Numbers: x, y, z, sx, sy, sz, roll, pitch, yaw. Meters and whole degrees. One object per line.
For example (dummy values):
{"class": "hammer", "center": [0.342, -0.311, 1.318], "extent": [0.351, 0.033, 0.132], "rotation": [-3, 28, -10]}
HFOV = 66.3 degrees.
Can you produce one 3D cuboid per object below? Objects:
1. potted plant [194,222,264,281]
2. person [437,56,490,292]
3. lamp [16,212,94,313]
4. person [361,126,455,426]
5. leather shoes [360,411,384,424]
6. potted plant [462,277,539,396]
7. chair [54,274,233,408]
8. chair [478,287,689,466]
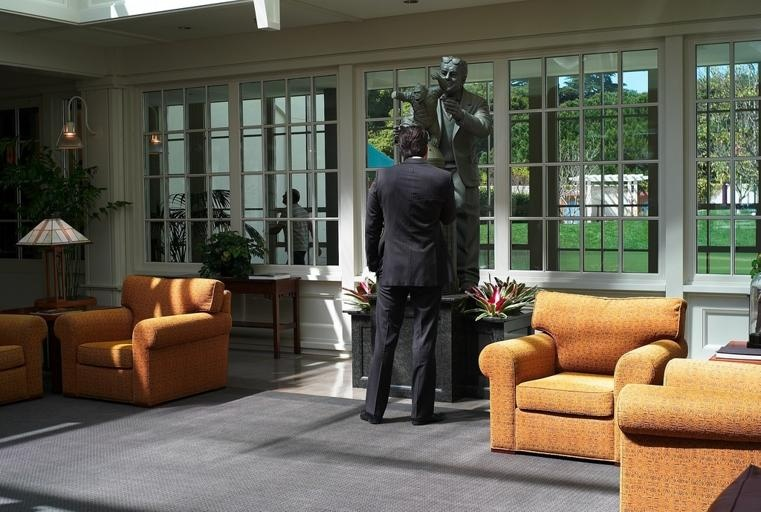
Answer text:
{"class": "potted plant", "center": [-1.873, -0.073, 7.367], "extent": [0.653, 0.509, 0.651], "rotation": [-1, 3, -29]}
{"class": "person", "center": [0.710, -0.754, 5.676], "extent": [0.647, 2.205, 0.695], "rotation": [-3, 2, -41]}
{"class": "lamp", "center": [-3.581, 0.072, 6.447], "extent": [0.768, 0.965, 0.809], "rotation": [7, 3, 41]}
{"class": "person", "center": [0.216, 0.143, 4.770], "extent": [0.781, 2.419, 0.294], "rotation": [0, 3, 7]}
{"class": "leather shoes", "center": [-0.070, 1.331, 4.805], "extent": [0.074, 0.089, 0.187], "rotation": [-1, 6, -35]}
{"class": "potted plant", "center": [1.180, 0.784, 5.946], "extent": [0.911, 1.451, 0.981], "rotation": [0, 3, 16]}
{"class": "chair", "center": [-2.203, 0.816, 5.684], "extent": [1.278, 1.215, 1.246], "rotation": [0, -3, 27]}
{"class": "chair", "center": [1.530, 0.813, 4.340], "extent": [1.368, 1.361, 1.110], "rotation": [-1, -3, 32]}
